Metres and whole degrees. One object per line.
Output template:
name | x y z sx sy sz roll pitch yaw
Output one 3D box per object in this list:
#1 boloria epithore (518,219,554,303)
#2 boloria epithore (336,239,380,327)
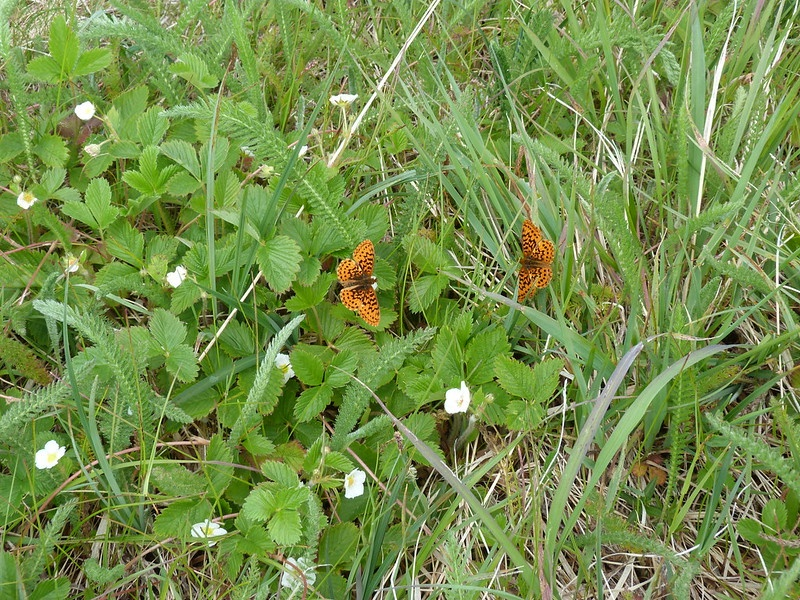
boloria epithore | 0.503 -0.139 2.532 0.118 0.296 0.060 2 28 7
boloria epithore | -0.151 -0.057 2.524 0.129 0.342 0.074 -6 27 -4
